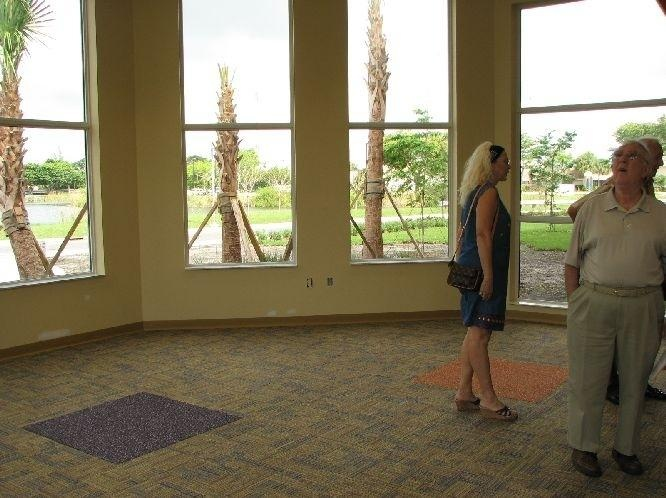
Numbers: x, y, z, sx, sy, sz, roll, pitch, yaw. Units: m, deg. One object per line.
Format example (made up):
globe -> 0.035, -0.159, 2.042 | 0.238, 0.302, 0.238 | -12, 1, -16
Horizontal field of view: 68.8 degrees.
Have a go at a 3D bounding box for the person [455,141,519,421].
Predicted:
person -> 1.163, 0.243, 3.720 | 0.465, 2.112, 0.380 | 1, 7, 14

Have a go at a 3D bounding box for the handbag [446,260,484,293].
handbag -> 0.972, 0.216, 3.645 | 0.157, 0.237, 0.271 | -5, 7, -30

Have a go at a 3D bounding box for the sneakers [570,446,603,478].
sneakers -> 1.553, 1.320, 2.990 | 0.108, 0.134, 0.195 | 2, -12, -6

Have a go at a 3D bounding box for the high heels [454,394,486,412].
high heels -> 1.083, 1.241, 3.882 | 0.240, 0.093, 0.084 | -2, 2, 5

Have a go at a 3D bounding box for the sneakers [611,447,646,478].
sneakers -> 1.813, 1.339, 3.059 | 0.087, 0.180, 0.256 | -6, -7, -7

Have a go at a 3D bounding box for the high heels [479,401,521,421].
high heels -> 1.257, 1.239, 3.721 | 0.211, 0.082, 0.122 | -2, 2, 21
